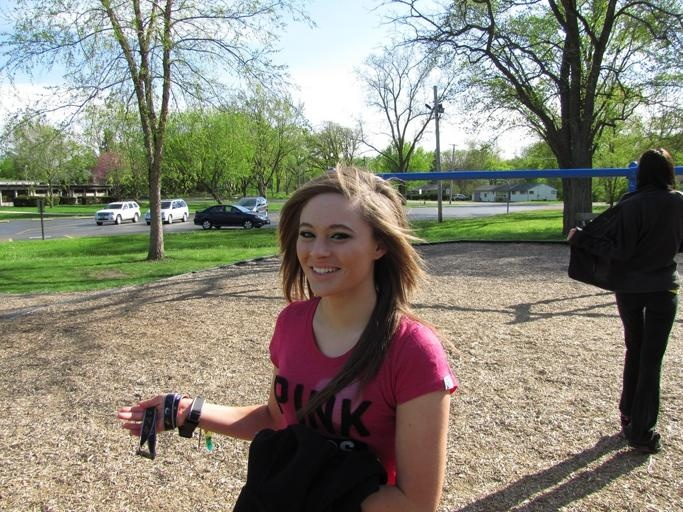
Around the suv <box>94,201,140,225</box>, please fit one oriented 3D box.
[{"bbox_3d":[-13.376,-2.625,34.732,1.279,1.274,3.178,-2,-2,11],"label":"suv"}]

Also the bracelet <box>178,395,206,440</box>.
[{"bbox_3d":[-0.832,0.905,3.271,0.131,0.225,0.221,27,-18,-1],"label":"bracelet"}]
